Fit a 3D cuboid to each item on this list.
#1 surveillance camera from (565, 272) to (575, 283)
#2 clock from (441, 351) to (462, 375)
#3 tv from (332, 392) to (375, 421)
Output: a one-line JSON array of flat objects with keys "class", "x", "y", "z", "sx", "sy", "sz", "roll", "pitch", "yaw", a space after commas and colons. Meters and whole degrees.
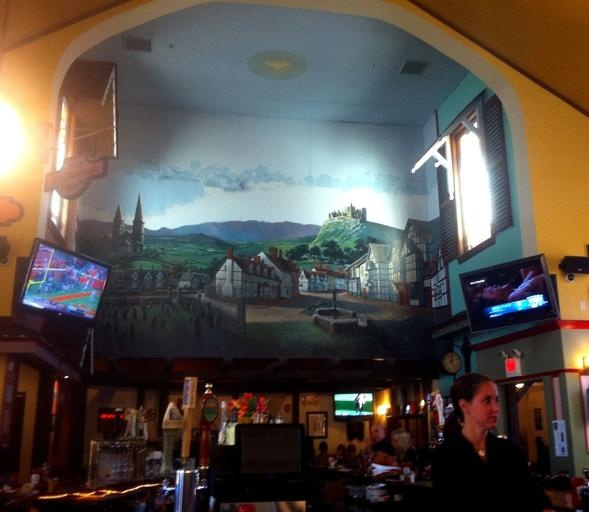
[{"class": "surveillance camera", "x": 3.573, "y": 0.279, "z": 6.973, "sx": 0.158, "sy": 0.110, "sz": 0.081, "roll": 6, "pitch": -16, "yaw": -23}, {"class": "clock", "x": 3.210, "y": 2.179, "z": 11.002, "sx": 0.181, "sy": 0.440, "sz": 0.607, "roll": 5, "pitch": -15, "yaw": -19}, {"class": "tv", "x": 1.751, "y": 4.449, "z": 16.061, "sx": 1.425, "sy": 0.755, "sz": 0.446, "roll": 8, "pitch": -17, "yaw": -29}]
